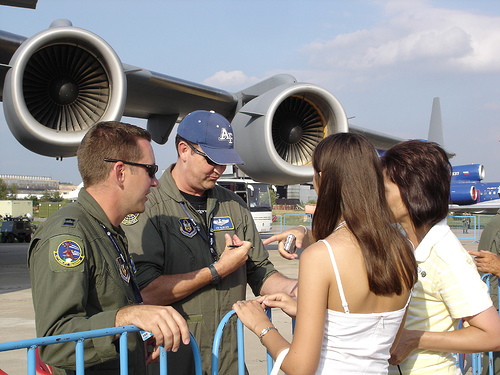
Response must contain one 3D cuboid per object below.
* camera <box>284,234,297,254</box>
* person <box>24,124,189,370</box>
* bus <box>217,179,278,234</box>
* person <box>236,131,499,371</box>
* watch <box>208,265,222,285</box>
[{"bbox_3d":[0.254,0.358,3.098,0.064,0.119,0.092,-3,-2,31],"label":"camera"},{"bbox_3d":[-0.777,0.300,2.554,0.682,1.347,0.648,-1,-2,-26],"label":"person"},{"bbox_3d":[0.070,0.658,22.334,1.355,1.848,3.925,-1,0,-15],"label":"bus"},{"bbox_3d":[0.678,0.387,2.644,1.260,1.351,0.528,-1,-2,-23],"label":"person"},{"bbox_3d":[-0.226,0.578,3.204,0.075,0.112,0.118,-19,-2,-7],"label":"watch"}]
